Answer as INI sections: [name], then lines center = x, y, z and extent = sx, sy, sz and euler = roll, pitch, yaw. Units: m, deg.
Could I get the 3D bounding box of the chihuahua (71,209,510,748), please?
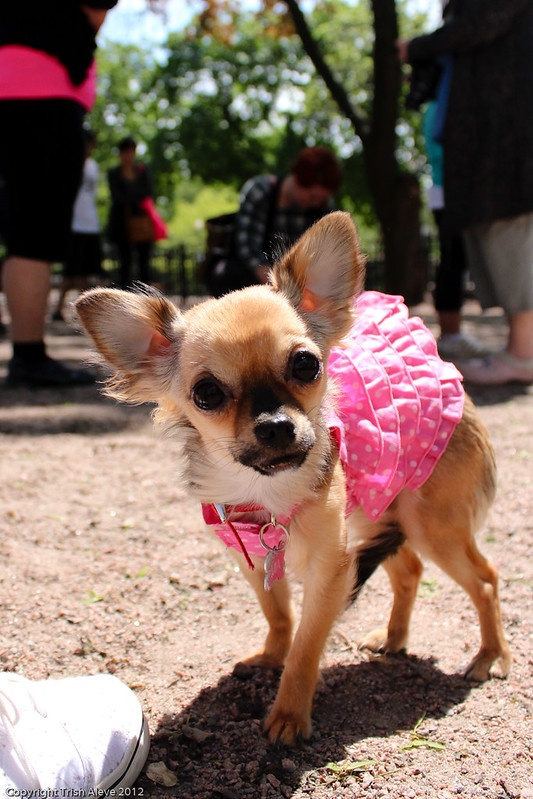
[chihuahua]
center = 0.218, 0.277, 2.829
extent = 0.821, 1.298, 1.656
euler = 5, 3, 35

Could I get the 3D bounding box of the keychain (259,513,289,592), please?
[keychain]
center = 0.016, 0.426, 2.307
extent = 0.081, 0.225, 0.118
euler = 4, 6, 0

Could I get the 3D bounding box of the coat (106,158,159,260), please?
[coat]
center = -1.629, -2.300, 9.702
extent = 0.530, 0.949, 0.330
euler = -10, 33, -23
